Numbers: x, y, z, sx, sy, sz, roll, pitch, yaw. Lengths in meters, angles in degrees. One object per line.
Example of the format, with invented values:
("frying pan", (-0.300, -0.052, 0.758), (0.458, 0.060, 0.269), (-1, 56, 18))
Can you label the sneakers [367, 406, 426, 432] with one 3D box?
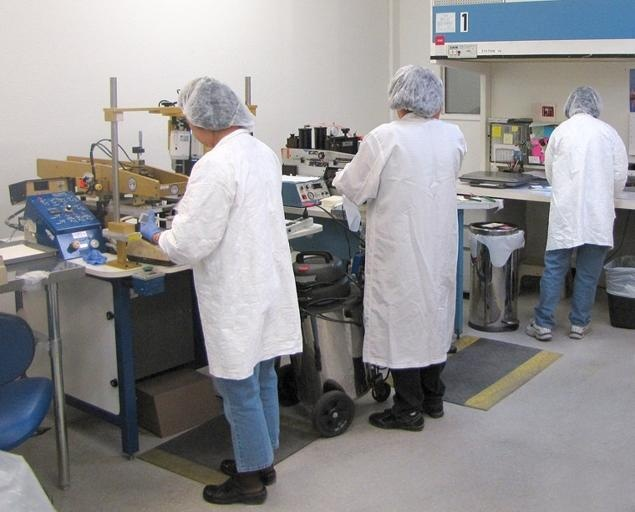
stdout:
("sneakers", (0.384, 0.811, 2.849), (0.247, 0.130, 0.113), (4, 6, 14))

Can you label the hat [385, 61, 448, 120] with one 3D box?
("hat", (0.500, -0.724, 2.677), (0.273, 0.254, 0.240), (2, -2, 15))

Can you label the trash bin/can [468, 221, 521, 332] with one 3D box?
("trash bin/can", (1.234, 0.144, 3.939), (0.354, 0.721, 0.284), (3, 14, 18))

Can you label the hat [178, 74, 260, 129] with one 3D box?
("hat", (-0.400, -0.582, 2.170), (0.293, 0.199, 0.163), (-3, 14, -5))

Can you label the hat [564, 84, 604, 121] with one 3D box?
("hat", (1.722, -0.991, 3.639), (0.160, 0.222, 0.229), (0, 8, 1))

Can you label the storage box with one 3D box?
("storage box", (-0.744, 0.725, 2.900), (0.271, 0.205, 0.302), (-1, 8, 41))

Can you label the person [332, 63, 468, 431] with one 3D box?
("person", (0.402, -0.174, 2.678), (0.593, 1.374, 0.330), (0, 13, 7))

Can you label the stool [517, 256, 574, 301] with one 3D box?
("stool", (1.922, 0.120, 4.725), (0.368, 0.255, 0.377), (5, 11, 34))

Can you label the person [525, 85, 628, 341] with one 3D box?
("person", (1.713, -0.270, 3.714), (0.587, 1.620, 0.421), (1, 13, 8))

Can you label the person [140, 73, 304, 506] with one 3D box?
("person", (-0.342, 0.160, 2.244), (0.516, 1.672, 0.384), (-10, 15, -33))

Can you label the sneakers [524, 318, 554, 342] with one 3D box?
("sneakers", (1.492, 0.492, 3.834), (0.079, 0.122, 0.232), (-1, 14, -6))

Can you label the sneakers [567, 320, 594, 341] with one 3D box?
("sneakers", (1.773, 0.507, 3.829), (0.068, 0.091, 0.212), (-1, 6, 37))
